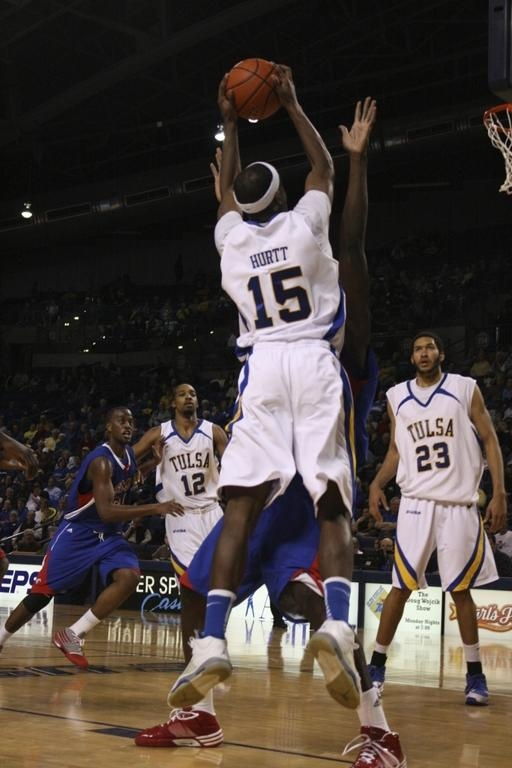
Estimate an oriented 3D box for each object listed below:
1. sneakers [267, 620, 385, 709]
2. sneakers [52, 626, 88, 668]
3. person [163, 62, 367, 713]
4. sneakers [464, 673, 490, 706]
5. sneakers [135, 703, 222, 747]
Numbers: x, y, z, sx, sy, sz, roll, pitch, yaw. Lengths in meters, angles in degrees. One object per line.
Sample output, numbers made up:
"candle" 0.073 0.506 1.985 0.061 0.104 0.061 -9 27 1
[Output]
"sneakers" 0.164 0.600 1.536 0.105 0.289 0.125 -12 25 36
"sneakers" -1.180 1.702 4.331 0.185 0.280 0.210 2 -10 -38
"person" 0.003 -0.149 1.898 0.496 1.942 0.715 -5 -8 7
"sneakers" 1.114 1.553 3.456 0.110 0.140 0.211 -5 -8 13
"sneakers" -0.233 1.134 2.271 0.300 0.159 0.112 3 -20 3
